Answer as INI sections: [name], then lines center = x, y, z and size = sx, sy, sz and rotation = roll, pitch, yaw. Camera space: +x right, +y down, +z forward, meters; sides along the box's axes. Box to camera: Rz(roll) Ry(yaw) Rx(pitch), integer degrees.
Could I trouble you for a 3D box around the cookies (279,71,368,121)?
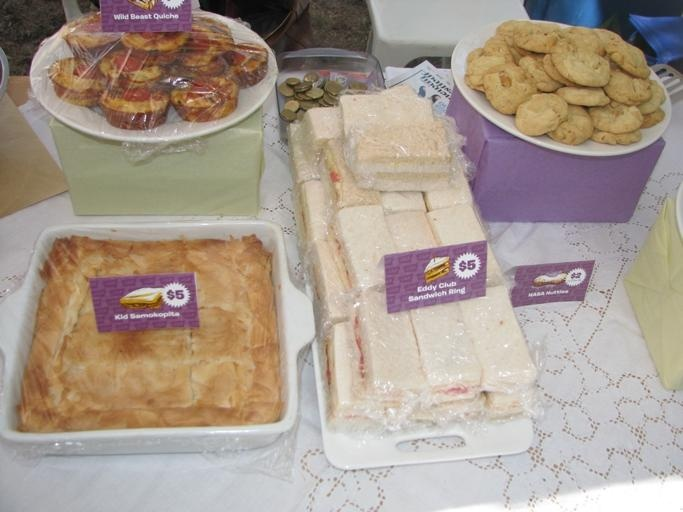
[cookies]
center = -0.094, -0.652, 2.112
size = 0.246, 0.087, 0.286
rotation = -6, 44, -12
